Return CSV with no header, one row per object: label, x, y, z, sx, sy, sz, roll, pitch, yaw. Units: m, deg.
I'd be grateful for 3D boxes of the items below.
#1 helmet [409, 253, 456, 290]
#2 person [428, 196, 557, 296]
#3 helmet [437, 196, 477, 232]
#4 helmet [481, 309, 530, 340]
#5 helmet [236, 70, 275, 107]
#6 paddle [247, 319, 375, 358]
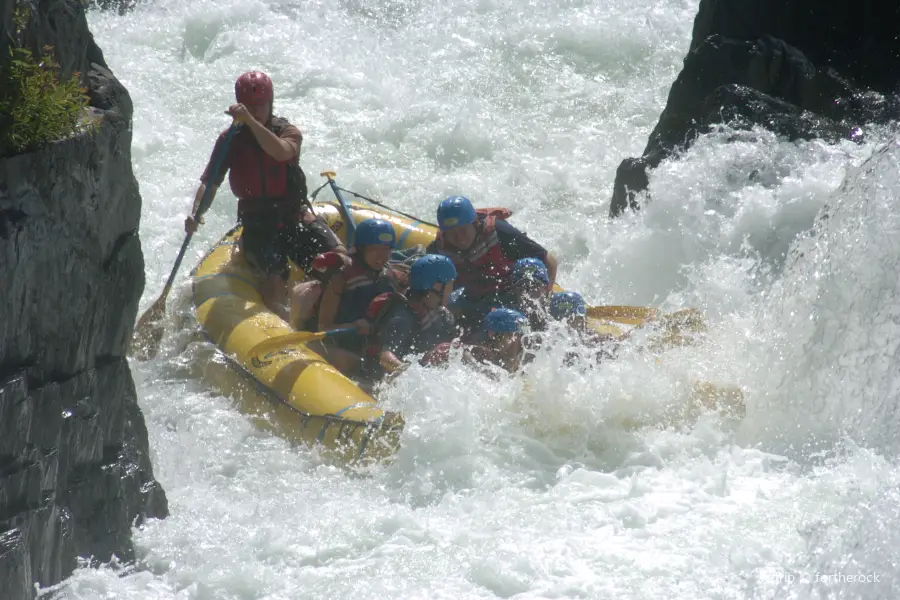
helmet,-0.123,-0.265,11.598,0.356,0.264,0.289,-26,95,16
person,0.335,-0.620,12.550,0.870,0.631,0.344,5,77,-43
helmet,0.081,-0.817,12.269,0.191,0.295,0.305,64,26,-22
helmet,0.459,0.202,11.349,0.371,0.210,0.250,-4,78,-5
helmet,-1.711,-1.855,12.004,0.262,0.346,0.277,-9,90,-4
paddle,-1.179,0.332,11.579,1.005,0.113,0.159,-12,109,-17
